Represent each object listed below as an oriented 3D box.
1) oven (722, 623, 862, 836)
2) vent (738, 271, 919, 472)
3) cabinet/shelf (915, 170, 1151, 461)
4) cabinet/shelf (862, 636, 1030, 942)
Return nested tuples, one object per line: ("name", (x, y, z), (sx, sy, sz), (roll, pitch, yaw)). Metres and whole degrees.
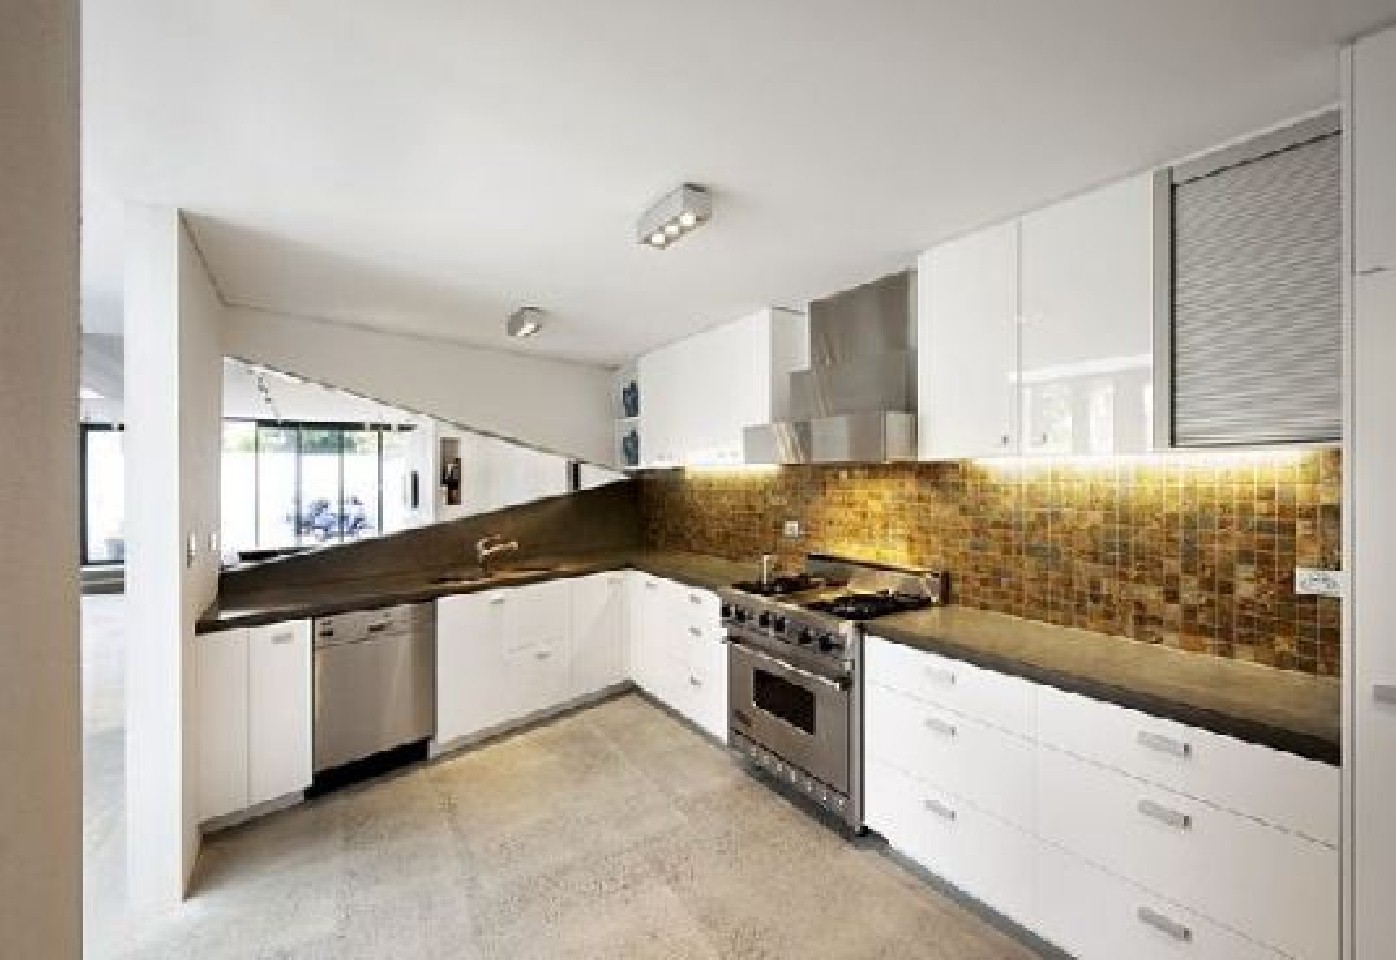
("oven", (0.619, 1.113, 4.719), (0.605, 0.994, 1.086), (3, -4, -30))
("vent", (0.666, -0.495, 4.713), (0.330, 0.906, 1.032), (-3, 1, -33))
("cabinet/shelf", (1.389, -0.682, 3.801), (0.332, 0.996, 1.015), (2, -3, -33))
("cabinet/shelf", (1.200, 1.169, 4.033), (0.538, 1.019, 0.919), (-8, 11, -35))
